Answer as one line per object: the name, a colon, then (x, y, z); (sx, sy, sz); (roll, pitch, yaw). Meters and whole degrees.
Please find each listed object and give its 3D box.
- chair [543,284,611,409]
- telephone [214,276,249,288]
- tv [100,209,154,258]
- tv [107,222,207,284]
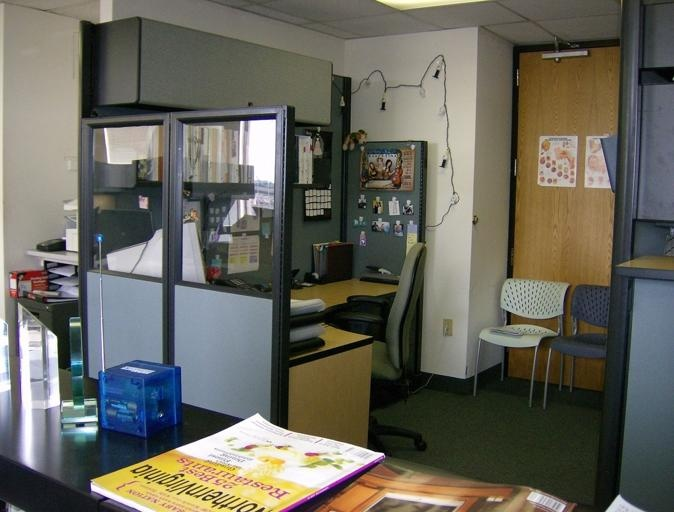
chair: (1.887, 0.671, 4.425); (0.600, 0.889, 0.533); (0, 3, -28)
telephone: (-0.464, 0.113, 2.570); (0.212, 0.041, 0.016); (6, 12, 36)
tv: (-1.024, -0.117, 2.895); (0.201, 0.235, 0.032); (-5, 3, 14)
tv: (-0.833, 0.022, 2.783); (0.329, 0.228, 0.334); (4, 2, 1)
